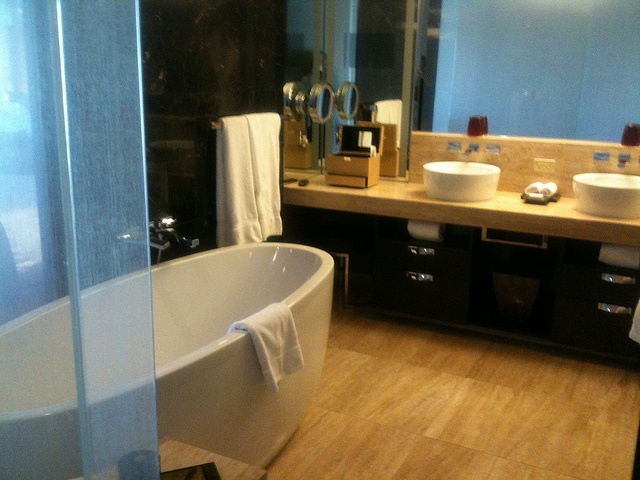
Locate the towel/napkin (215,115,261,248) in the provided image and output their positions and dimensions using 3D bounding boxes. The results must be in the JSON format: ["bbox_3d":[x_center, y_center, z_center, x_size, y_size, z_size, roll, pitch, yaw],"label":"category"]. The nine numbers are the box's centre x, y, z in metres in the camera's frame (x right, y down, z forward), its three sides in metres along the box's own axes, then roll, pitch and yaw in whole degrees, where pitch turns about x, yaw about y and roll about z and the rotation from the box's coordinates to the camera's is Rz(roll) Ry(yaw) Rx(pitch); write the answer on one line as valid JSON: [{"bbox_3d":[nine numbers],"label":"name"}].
[{"bbox_3d":[-0.437,-0.301,2.711,0.110,0.668,0.249,15,24,42],"label":"towel/napkin"}]

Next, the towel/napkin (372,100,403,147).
[{"bbox_3d":[0.467,-0.799,3.561,0.264,0.274,0.075,4,4,10],"label":"towel/napkin"}]

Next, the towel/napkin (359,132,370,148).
[{"bbox_3d":[0.296,-0.651,3.356,0.091,0.134,0.091,-1,3,-5],"label":"towel/napkin"}]

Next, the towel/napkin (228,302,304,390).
[{"bbox_3d":[-0.160,0.354,1.796,0.100,0.291,0.282,-6,12,38],"label":"towel/napkin"}]

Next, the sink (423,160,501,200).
[{"bbox_3d":[0.843,-0.358,3.102,0.419,0.175,0.449,3,19,12],"label":"sink"}]
